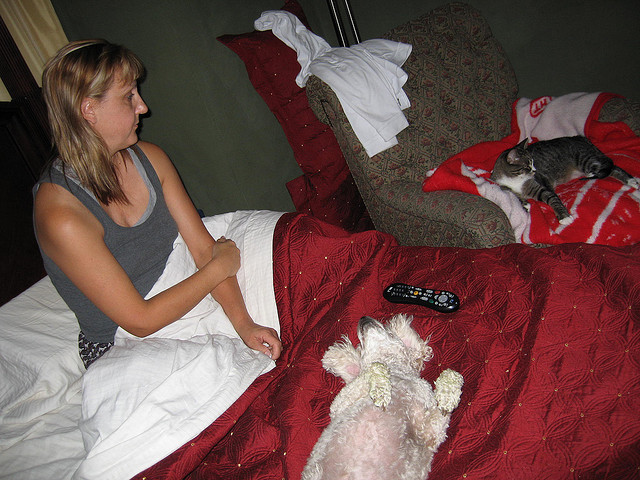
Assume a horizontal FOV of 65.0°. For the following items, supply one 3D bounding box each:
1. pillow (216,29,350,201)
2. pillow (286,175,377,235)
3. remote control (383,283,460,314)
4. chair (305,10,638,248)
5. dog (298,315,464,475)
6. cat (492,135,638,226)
[{"bbox_3d":[-0.225,-0.745,3.121,0.636,1.000,0.220,-33,29,-19],"label":"pillow"},{"bbox_3d":[0.045,-0.249,3.216,0.523,0.139,0.528,-1,49,-15],"label":"pillow"},{"bbox_3d":[0.360,0.190,1.789,0.253,0.056,0.100,10,57,35],"label":"remote control"},{"bbox_3d":[0.782,-0.553,2.611,0.824,0.915,0.912,-39,38,-2],"label":"chair"},{"bbox_3d":[0.202,0.503,1.536,0.350,0.226,0.551,7,45,16],"label":"dog"},{"bbox_3d":[1.173,-0.340,2.443,0.509,0.260,0.404,-21,38,19],"label":"cat"}]
